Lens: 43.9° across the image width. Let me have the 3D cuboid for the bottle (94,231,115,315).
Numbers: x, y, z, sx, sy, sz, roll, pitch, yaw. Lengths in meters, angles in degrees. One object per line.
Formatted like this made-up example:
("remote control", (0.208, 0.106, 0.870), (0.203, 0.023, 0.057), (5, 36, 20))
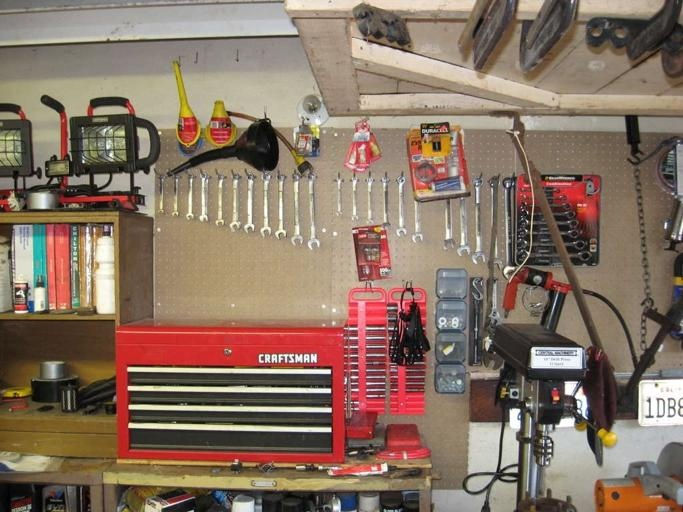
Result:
("bottle", (-1.432, 0.110, 5.088), (0.157, 0.467, 0.061), (-3, -5, 32))

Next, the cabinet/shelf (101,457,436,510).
("cabinet/shelf", (-0.426, 1.334, 4.912), (1.920, 0.292, 0.134), (-1, -4, 0))
